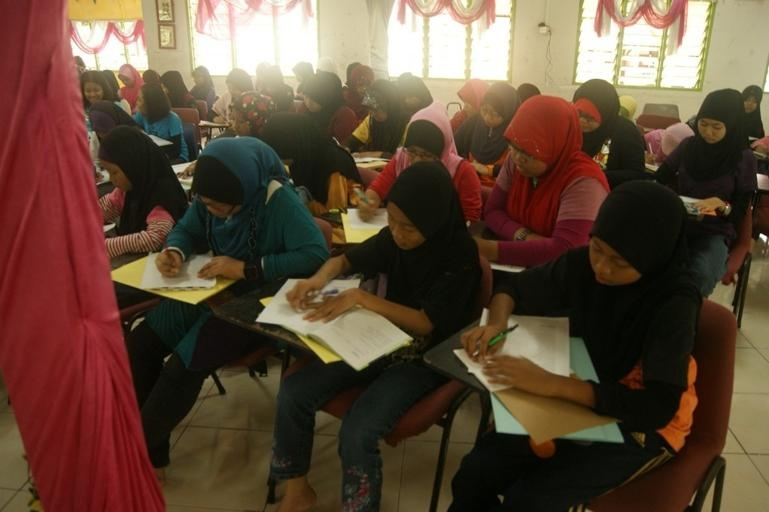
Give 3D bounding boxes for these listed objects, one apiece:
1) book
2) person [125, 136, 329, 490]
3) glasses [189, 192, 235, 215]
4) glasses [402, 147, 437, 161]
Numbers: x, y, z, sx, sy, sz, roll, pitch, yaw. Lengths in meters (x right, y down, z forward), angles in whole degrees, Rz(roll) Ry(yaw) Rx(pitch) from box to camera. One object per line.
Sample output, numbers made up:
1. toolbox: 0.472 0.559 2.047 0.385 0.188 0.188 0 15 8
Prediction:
1. book: -0.198 0.224 1.999 0.574 0.145 0.273 10 16 32
2. person: -0.728 0.172 2.413 0.719 1.289 1.030 11 16 35
3. glasses: -0.677 -0.201 2.328 0.104 0.056 0.126 26 18 17
4. glasses: 0.179 -0.526 3.048 0.135 0.038 0.128 12 -7 0
